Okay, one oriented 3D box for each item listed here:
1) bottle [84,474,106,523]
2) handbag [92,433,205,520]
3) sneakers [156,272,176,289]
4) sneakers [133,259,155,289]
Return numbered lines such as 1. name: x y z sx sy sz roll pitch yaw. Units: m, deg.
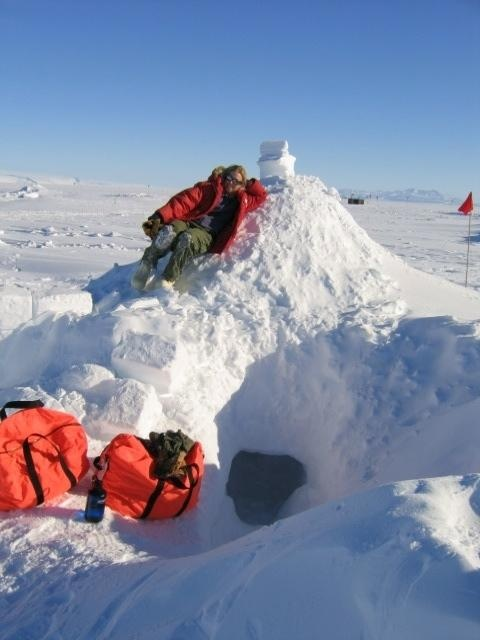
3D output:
1. bottle: -0.717 0.890 2.753 0.101 0.190 0.115 2 10 -14
2. handbag: -0.539 0.784 3.052 0.642 0.410 0.447 8 -3 -41
3. sneakers: -0.630 -0.329 4.776 0.150 0.138 0.112 3 5 10
4. sneakers: -0.864 -0.399 5.008 0.160 0.269 0.110 12 -3 30
